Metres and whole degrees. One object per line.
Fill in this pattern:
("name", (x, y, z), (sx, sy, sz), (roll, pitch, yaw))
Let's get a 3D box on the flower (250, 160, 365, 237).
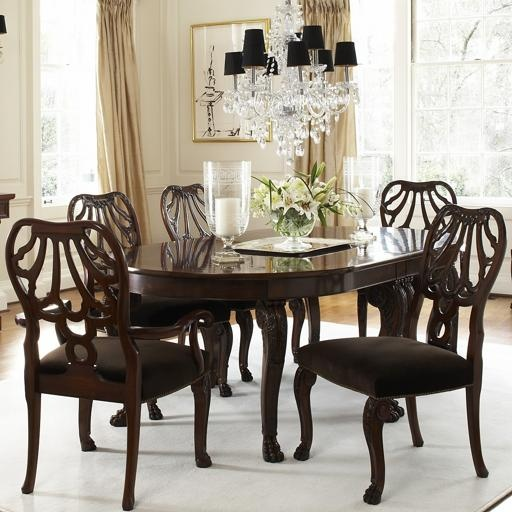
("flower", (0.238, -0.349, 2.307), (0.434, 0.280, 0.455), (-6, 2, -13))
